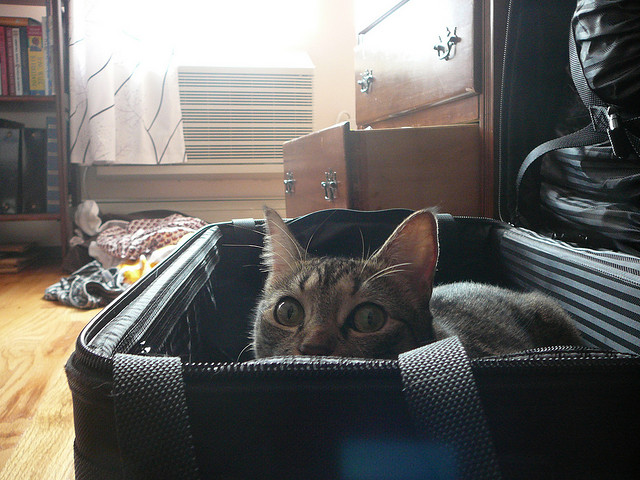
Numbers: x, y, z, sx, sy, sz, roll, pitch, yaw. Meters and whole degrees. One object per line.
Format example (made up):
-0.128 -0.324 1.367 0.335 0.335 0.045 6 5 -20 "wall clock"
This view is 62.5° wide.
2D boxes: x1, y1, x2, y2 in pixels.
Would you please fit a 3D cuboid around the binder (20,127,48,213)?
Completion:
-1.117 -0.262 2.046 0.105 0.301 0.310 -1 3 -16 "binder"

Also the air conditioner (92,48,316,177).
-0.350 -0.540 2.313 0.940 0.568 0.200 -2 17 -14 "air conditioner"

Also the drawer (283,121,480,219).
0.089 -0.165 1.336 0.230 0.251 0.571 -12 13 -41 "drawer"

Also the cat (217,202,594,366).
0.103 0.096 0.769 0.389 0.206 0.249 10 -22 -11 "cat"
